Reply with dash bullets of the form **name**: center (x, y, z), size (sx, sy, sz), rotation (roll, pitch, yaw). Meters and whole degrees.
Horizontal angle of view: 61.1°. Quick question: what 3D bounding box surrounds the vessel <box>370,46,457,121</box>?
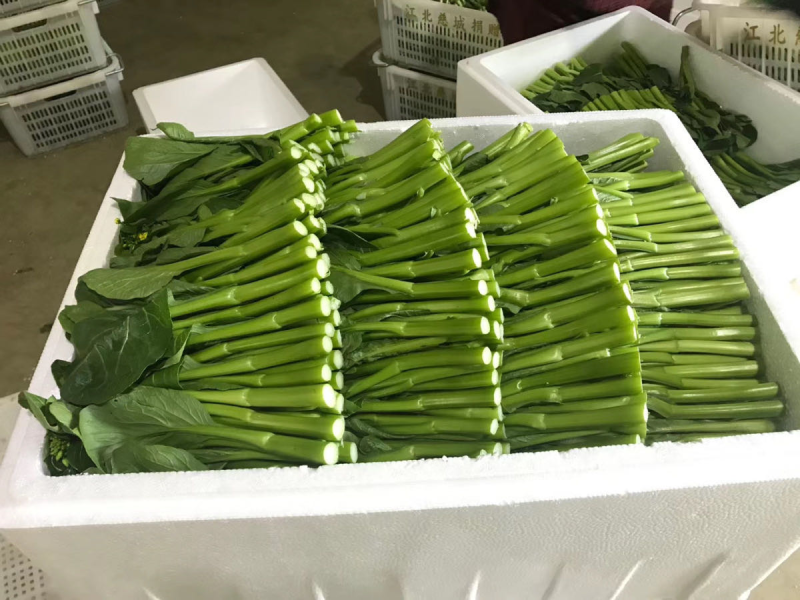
- **vessel**: center (0.153, -1.481, 4.994), size (0.708, 0.398, 0.871), rotation (5, 46, 8)

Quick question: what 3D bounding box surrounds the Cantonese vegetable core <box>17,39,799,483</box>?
- **Cantonese vegetable core**: center (0.076, 0.057, 2.291), size (2.362, 0.634, 1.179), rotation (0, 50, -3)
